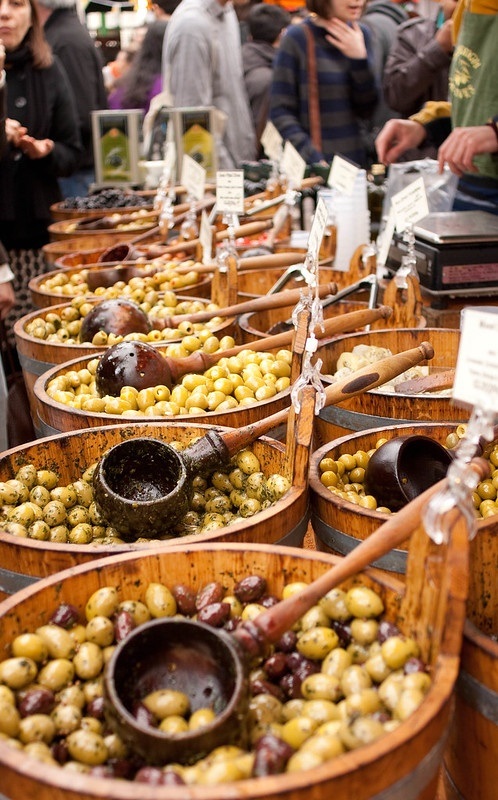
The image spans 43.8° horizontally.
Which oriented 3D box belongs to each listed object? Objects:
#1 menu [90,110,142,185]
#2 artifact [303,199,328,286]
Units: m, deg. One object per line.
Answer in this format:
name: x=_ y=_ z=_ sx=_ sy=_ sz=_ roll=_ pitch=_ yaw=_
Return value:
menu: x=-1.195 y=-2.282 z=5.427 sx=0.482 sy=0.639 sz=0.486 roll=-5 pitch=44 yaw=-14
artifact: x=0.187 y=-0.408 z=1.680 sx=0.065 sy=0.041 sz=0.402 roll=-5 pitch=36 yaw=14
